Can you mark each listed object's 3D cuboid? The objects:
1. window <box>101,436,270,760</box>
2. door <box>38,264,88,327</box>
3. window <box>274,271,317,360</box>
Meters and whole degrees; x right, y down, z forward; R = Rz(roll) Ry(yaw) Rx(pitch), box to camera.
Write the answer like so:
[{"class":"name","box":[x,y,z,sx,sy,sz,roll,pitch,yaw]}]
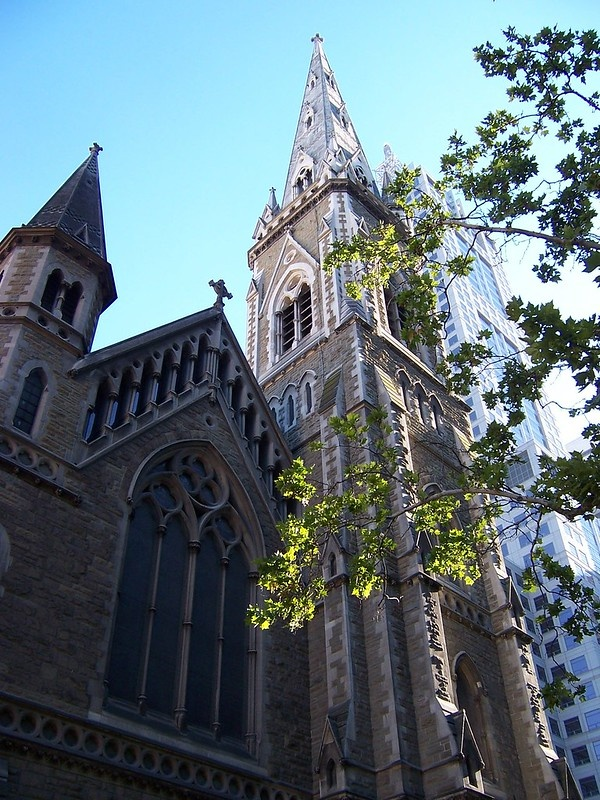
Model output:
[{"class":"window","box":[-2.229,3.874,14.838,0.555,6.719,3.141,-40,-62,16]},{"class":"door","box":[-5.413,-2.354,17.840,0.223,1.192,0.753,-5,-27,39]},{"class":"window","box":[-0.107,-2.931,28.098,0.280,3.093,2.662,25,-63,-18]}]
